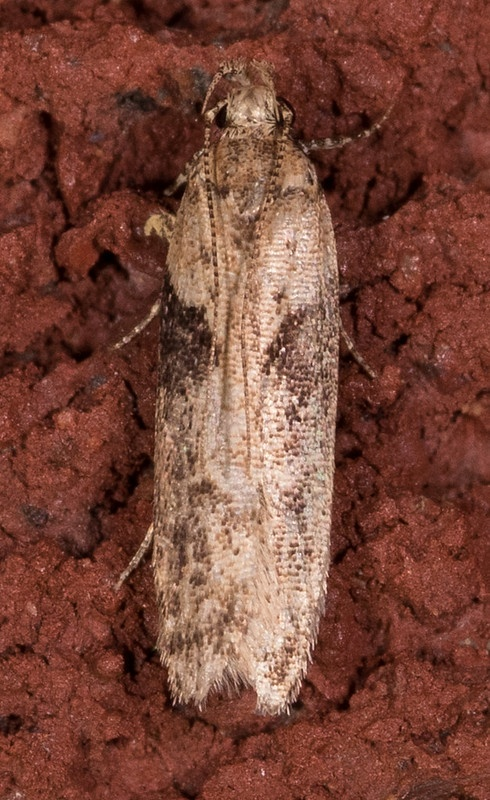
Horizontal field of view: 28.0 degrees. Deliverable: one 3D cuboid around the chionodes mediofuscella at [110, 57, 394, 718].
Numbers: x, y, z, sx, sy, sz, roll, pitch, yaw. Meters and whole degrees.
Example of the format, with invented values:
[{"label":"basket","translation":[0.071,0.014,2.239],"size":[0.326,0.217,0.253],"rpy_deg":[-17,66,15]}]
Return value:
[{"label":"chionodes mediofuscella","translation":[0.015,-0.018,3.601],"size":[0.813,0.475,2.006],"rpy_deg":[2,95,0]}]
